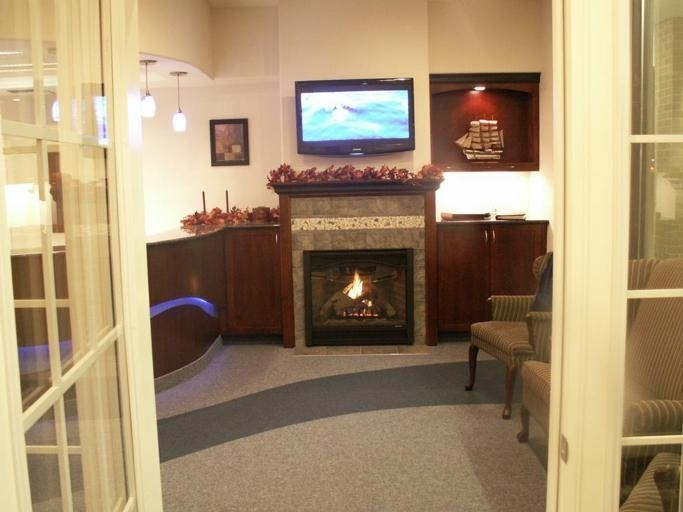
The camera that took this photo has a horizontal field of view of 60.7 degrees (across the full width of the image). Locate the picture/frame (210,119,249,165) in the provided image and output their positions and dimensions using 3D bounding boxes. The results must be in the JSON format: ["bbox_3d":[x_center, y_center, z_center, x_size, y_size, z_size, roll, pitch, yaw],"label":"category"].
[{"bbox_3d":[-1.222,-1.255,6.345,0.469,0.565,0.037,0,3,0],"label":"picture/frame"}]

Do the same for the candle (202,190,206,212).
[{"bbox_3d":[-1.498,-0.586,6.283,0.051,0.212,0.345,-3,8,-13],"label":"candle"}]

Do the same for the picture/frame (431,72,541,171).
[{"bbox_3d":[1.388,-1.256,5.776,1.091,1.009,0.173,1,-15,4],"label":"picture/frame"}]

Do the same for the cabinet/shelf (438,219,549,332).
[{"bbox_3d":[1.365,0.188,5.431,0.984,1.022,0.375,-1,4,6],"label":"cabinet/shelf"}]

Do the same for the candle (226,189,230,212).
[{"bbox_3d":[-1.252,-0.597,6.311,0.044,0.228,0.236,-3,8,-12],"label":"candle"}]

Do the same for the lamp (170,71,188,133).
[{"bbox_3d":[-1.696,-1.577,6.060,0.160,0.544,0.747,-3,8,-16],"label":"lamp"}]

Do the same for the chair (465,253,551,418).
[{"bbox_3d":[1.187,0.459,3.763,0.627,0.909,0.653,-2,7,-19],"label":"chair"}]
